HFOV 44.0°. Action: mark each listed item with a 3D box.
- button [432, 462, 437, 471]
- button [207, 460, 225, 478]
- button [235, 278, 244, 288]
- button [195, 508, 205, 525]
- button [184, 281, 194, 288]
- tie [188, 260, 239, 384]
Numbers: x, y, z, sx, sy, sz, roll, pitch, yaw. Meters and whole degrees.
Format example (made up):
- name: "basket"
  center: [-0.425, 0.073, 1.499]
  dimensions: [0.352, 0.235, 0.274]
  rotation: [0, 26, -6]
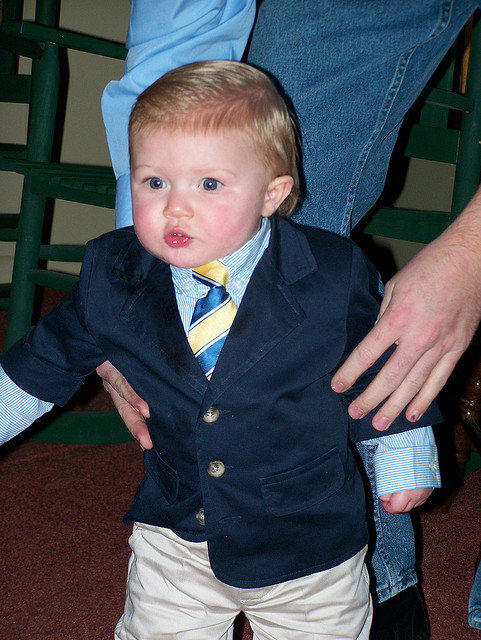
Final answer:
- name: "button"
  center: [0.223, 0.168, 0.685]
  dimensions: [0.003, 0.008, 0.009]
  rotation: [-4, -2, 21]
- name: "button"
  center: [-0.028, 0.162, 0.651]
  dimensions: [0.022, 0.018, 0.005]
  rotation: [-1, 3, 0]
- name: "button"
  center: [-0.001, -0.042, 0.673]
  dimensions: [0.009, 0.009, 0.004]
  rotation: [-1, -13, -18]
- name: "button"
  center: [-0.046, 0.222, 0.669]
  dimensions: [0.007, 0.018, 0.019]
  rotation: [4, 5, -19]
- name: "button"
  center: [-0.061, -0.041, 0.677]
  dimensions: [0.008, 0.007, 0.003]
  rotation: [-2, -5, 19]
- name: "tie"
  center: [-0.031, 0.000, 0.669]
  dimensions: [0.039, 0.134, 0.043]
  rotation: [1, 7, -44]
